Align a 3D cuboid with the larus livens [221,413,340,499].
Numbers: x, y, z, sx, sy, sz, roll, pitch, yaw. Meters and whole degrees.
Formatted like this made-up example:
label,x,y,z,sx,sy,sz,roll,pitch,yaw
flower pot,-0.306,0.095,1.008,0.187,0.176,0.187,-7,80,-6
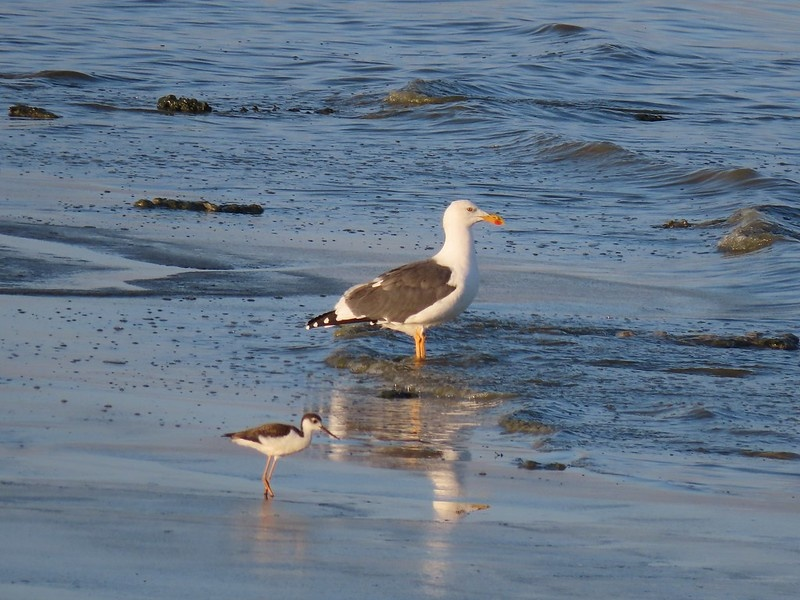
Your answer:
label,x,y,z,sx,sy,sz,roll,pitch,yaw
larus livens,-1.130,1.560,14.638,1.366,0.358,0.807,-3,82,37
